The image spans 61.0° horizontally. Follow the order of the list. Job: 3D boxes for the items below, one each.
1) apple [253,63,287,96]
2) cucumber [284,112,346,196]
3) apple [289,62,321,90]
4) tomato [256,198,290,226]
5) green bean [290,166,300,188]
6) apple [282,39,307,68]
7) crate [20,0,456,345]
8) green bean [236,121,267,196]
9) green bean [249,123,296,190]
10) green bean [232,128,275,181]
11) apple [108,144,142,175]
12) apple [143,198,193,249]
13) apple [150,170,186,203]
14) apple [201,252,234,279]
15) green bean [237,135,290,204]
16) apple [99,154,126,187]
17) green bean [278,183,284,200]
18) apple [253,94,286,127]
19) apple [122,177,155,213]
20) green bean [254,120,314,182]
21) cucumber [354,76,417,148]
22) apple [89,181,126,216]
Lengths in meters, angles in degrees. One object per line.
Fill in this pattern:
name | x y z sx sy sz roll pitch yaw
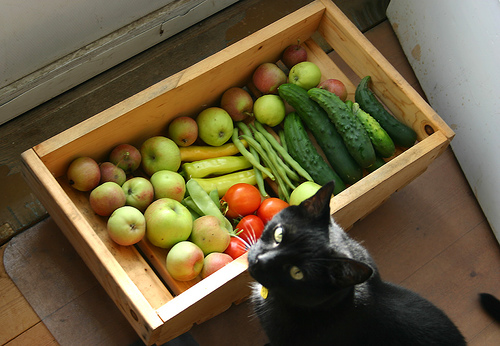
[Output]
apple | 0.067 -0.315 1.496 0.114 0.121 0.116 5 4 17
cucumber | 0.194 -0.062 1.449 0.116 0.352 0.094 -34 -10 19
apple | 0.203 -0.336 1.489 0.089 0.113 0.094 -6 -1 2
tomato | 0.071 0.133 1.394 0.093 0.110 0.130 1 -1 -20
green bean | 0.152 0.020 1.433 0.013 0.046 0.035 -24 -31 -22
apple | 0.154 -0.417 1.482 0.068 0.067 0.092 -42 7 -1
crate | 0.071 -0.047 1.708 1.486 0.940 0.492 -33 -10 -11
green bean | -0.007 -0.026 1.524 0.040 0.038 0.303 -36 -40 -21
green bean | 0.075 -0.051 1.434 0.026 0.243 0.033 -23 -12 -35
green bean | 0.010 -0.061 1.442 0.028 0.197 0.021 -26 -14 -44
apple | -0.386 -0.044 1.323 0.087 0.092 0.105 1 3 -10
apple | -0.247 0.122 1.299 0.137 0.142 0.143 -6 15 -16
apple | -0.267 0.029 1.340 0.083 0.096 0.086 1 30 -31
apple | -0.107 0.270 1.312 0.081 0.080 0.076 -41 -34 27
green bean | 0.050 -0.052 1.429 0.038 0.365 0.072 -21 -25 -13
apple | -0.419 -0.003 1.332 0.071 0.104 0.067 24 2 -29
green bean | 0.105 0.062 1.428 0.012 0.054 0.013 -7 23 11
apple | 0.066 -0.211 1.485 0.100 0.110 0.095 10 -1 -36
apple | -0.335 0.059 1.322 0.087 0.092 0.091 -29 -17 16
green bean | 0.116 -0.071 1.425 0.027 0.254 0.019 -39 -14 6
cucumber | 0.441 -0.185 1.487 0.137 0.278 0.084 -35 -6 -9
apple | -0.418 0.070 1.283 0.090 0.091 0.094 -49 13 46
